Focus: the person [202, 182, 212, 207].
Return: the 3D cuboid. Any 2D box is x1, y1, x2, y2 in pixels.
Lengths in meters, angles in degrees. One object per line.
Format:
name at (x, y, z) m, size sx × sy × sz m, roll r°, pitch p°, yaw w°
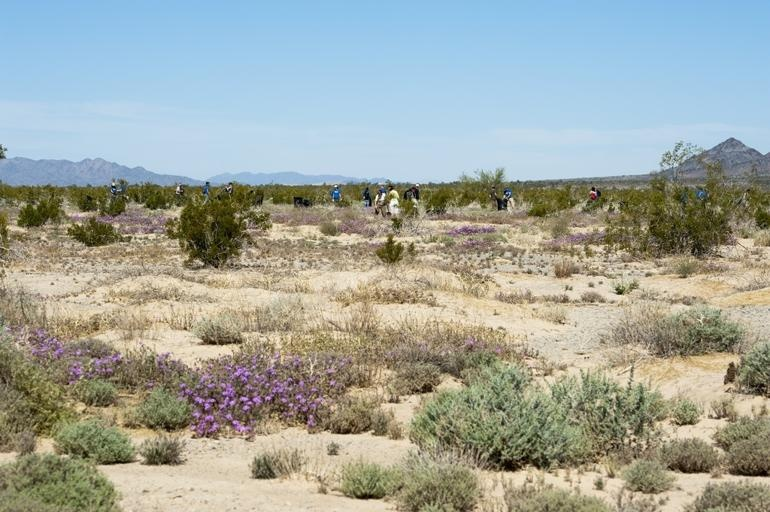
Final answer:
person at (-10.311, -3.695, 48.092) m, size 0.270 × 1.113 × 4.019 m, roll -1°, pitch 10°, yaw -14°
